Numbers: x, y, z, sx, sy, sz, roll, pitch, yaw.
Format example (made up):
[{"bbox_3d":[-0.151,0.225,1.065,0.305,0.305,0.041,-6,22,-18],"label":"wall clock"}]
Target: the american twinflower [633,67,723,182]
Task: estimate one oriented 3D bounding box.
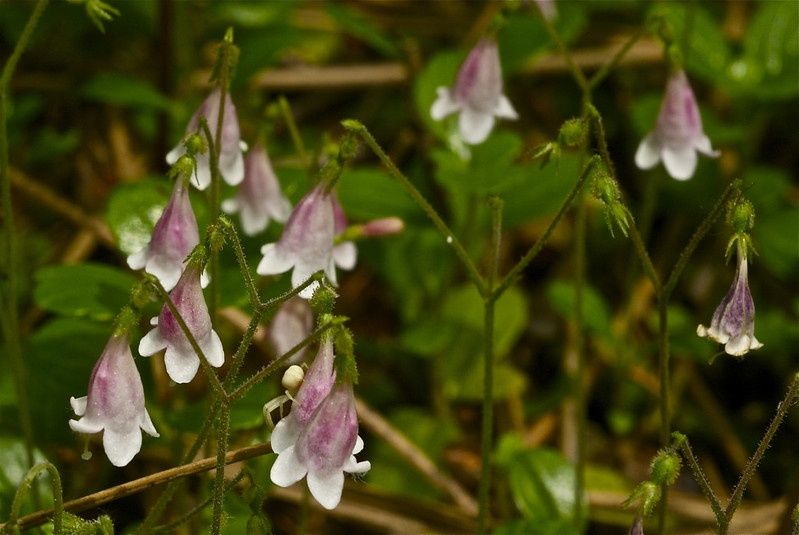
[{"bbox_3d":[1.191,-0.563,4.508,0.302,0.263,0.383,24,72,13],"label":"american twinflower"}]
